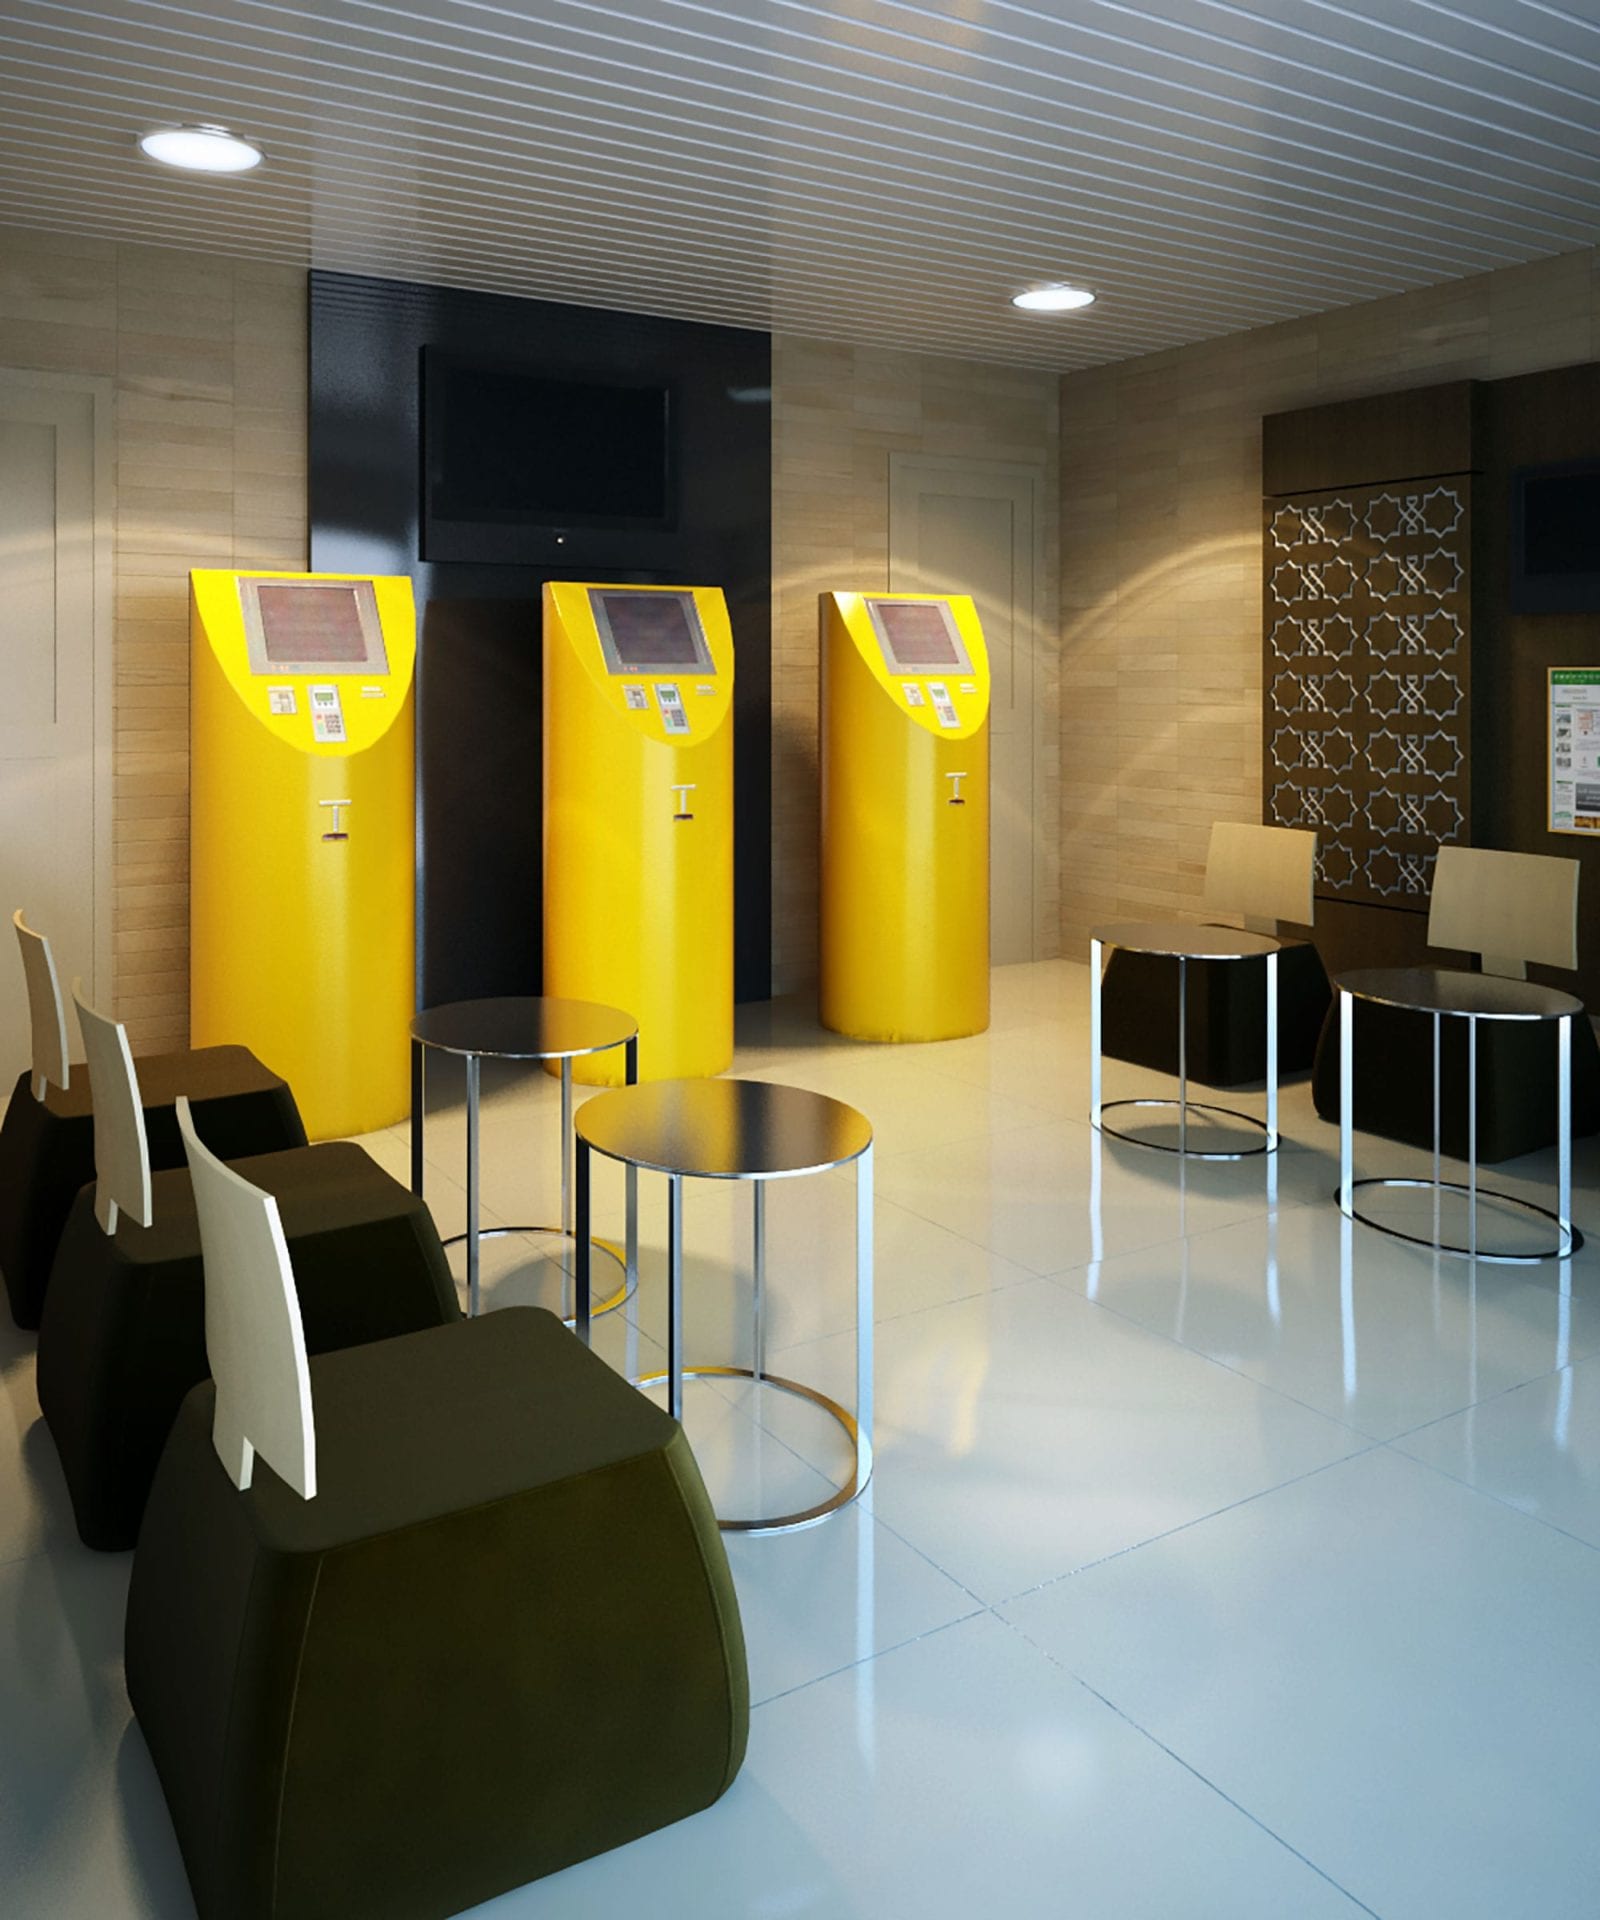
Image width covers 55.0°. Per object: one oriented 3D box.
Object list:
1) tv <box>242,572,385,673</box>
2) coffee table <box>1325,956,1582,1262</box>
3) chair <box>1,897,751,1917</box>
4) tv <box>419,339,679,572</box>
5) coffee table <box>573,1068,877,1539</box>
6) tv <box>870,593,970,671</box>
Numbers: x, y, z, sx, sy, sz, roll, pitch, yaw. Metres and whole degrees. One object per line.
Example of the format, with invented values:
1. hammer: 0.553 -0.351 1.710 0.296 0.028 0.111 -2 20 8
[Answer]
1. tv: -1.508 -1.055 4.703 0.307 0.336 0.028 2 -28 -22
2. coffee table: 1.692 0.328 3.996 0.584 0.609 0.942 3 9 22
3. chair: -0.574 0.542 2.030 0.624 0.817 1.150 -5 10 -32
4. tv: -0.953 -1.890 5.576 0.726 0.644 0.095 -6 11 -39
5. coffee table: -0.116 0.526 2.805 0.542 0.825 0.614 9 18 28
6. tv: 0.455 -1.300 5.920 0.396 0.281 0.204 -7 10 -38
